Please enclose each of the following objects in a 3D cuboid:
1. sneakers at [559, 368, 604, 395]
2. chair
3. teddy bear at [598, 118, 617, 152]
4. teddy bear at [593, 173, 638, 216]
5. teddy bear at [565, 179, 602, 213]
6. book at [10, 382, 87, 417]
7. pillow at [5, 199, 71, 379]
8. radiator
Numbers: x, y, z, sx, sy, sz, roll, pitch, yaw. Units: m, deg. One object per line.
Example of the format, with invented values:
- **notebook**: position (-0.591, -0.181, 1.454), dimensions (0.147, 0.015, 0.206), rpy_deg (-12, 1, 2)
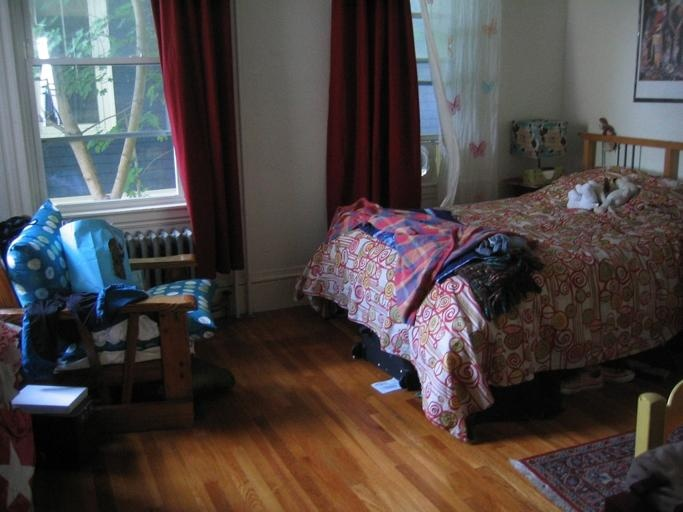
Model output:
- **sneakers**: position (1.329, 0.687, 3.090), dimensions (0.292, 0.136, 0.111), rpy_deg (-7, 11, -18)
- **chair**: position (-1.072, 0.425, 2.692), dimensions (0.806, 0.374, 0.812), rpy_deg (-4, 37, -16)
- **teddy bear**: position (2.155, -0.991, 4.458), dimensions (0.079, 0.275, 0.118), rpy_deg (-12, 12, 46)
- **teddy bear**: position (1.895, -0.431, 3.783), dimensions (0.230, 0.122, 0.339), rpy_deg (-4, 38, 23)
- **teddy bear**: position (1.703, -0.417, 3.851), dimensions (0.229, 0.097, 0.211), rpy_deg (-44, 30, -11)
- **book**: position (-1.328, 0.654, 2.488), dimensions (0.248, 0.061, 0.181), rpy_deg (4, 9, 4)
- **pillow**: position (-1.453, 0.189, 2.630), dimensions (0.163, 0.440, 0.700), rpy_deg (-9, 36, -11)
- **radiator**: position (-1.268, 0.034, 3.848), dimensions (0.449, 0.496, 0.133), rpy_deg (-6, -12, -22)
